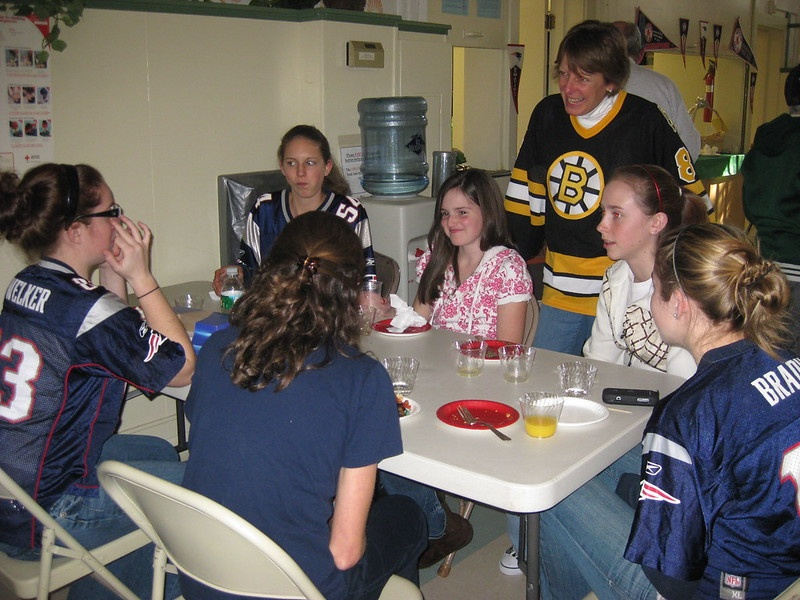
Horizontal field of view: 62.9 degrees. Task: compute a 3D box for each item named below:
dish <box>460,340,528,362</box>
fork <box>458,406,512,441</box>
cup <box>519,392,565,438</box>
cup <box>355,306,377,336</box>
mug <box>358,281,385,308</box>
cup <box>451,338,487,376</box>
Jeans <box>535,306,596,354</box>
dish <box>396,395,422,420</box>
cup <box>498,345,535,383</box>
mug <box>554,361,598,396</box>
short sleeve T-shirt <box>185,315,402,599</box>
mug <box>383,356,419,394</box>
[{"bbox_3d":[0.302,0.164,2.211,0.131,0.022,0.131,5,11,26],"label":"dish"},{"bbox_3d":[0.228,0.340,1.825,0.045,0.038,0.263,-23,25,-12],"label":"fork"},{"bbox_3d":[0.381,0.312,1.811,0.122,0.095,0.119,2,4,0],"label":"cup"},{"bbox_3d":[-0.109,0.072,2.495,0.093,0.101,0.100,0,-1,0],"label":"cup"},{"bbox_3d":[-0.125,-0.017,2.837,0.128,0.164,0.118,-2,11,-15],"label":"mug"},{"bbox_3d":[0.233,0.194,2.215,0.111,0.094,0.109,2,7,0],"label":"cup"},{"bbox_3d":[0.779,0.140,3.064,0.203,0.146,0.111,7,10,9],"label":"Jeans"},{"bbox_3d":[0.019,0.315,1.905,0.064,0.011,0.055,13,18,37],"label":"dish"},{"bbox_3d":[0.377,0.210,2.166,0.117,0.097,0.113,2,9,0],"label":"cup"},{"bbox_3d":[0.558,0.243,2.066,0.105,0.074,0.101,4,6,21],"label":"mug"},{"bbox_3d":[-0.257,0.378,1.520,0.630,0.608,0.334,8,10,20],"label":"short sleeve T-shirt"},{"bbox_3d":[0.002,0.242,2.067,0.112,0.089,0.104,1,0,-5],"label":"mug"}]
